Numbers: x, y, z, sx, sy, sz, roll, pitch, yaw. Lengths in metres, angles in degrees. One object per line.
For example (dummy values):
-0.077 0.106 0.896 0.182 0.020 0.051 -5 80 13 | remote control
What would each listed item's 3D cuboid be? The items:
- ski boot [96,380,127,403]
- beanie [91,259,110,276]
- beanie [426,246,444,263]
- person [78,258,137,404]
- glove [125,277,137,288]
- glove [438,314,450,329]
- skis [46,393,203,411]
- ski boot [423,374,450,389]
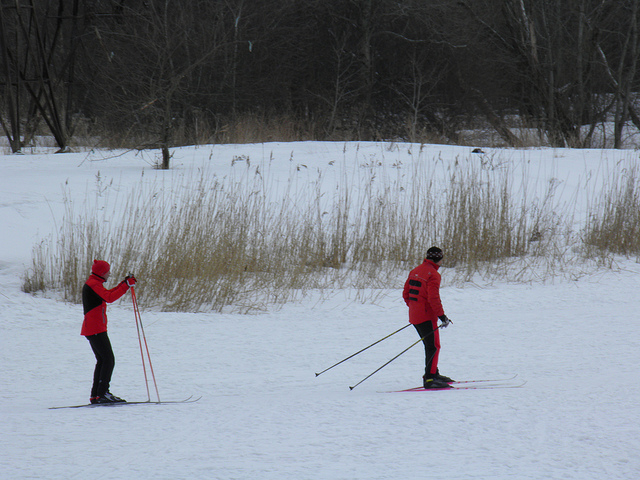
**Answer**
-2.546 1.833 10.568 0.440 0.301 0.146 2 1 -19 | ski boot
-2.642 0.335 10.669 0.211 0.171 0.150 0 14 -28 | beanie
1.432 0.175 11.153 0.198 0.163 0.152 -17 17 -35 | beanie
-2.575 1.097 10.638 0.567 1.688 0.290 -1 3 -17 | person
-2.254 0.490 10.616 0.100 0.126 0.056 14 27 5 | glove
1.531 0.994 10.901 0.070 0.148 0.138 1 -15 -11 | glove
-2.361 1.944 10.608 1.447 0.104 0.190 0 -4 -10 | skis
1.456 1.768 11.047 0.365 0.173 0.121 -3 0 1 | ski boot
